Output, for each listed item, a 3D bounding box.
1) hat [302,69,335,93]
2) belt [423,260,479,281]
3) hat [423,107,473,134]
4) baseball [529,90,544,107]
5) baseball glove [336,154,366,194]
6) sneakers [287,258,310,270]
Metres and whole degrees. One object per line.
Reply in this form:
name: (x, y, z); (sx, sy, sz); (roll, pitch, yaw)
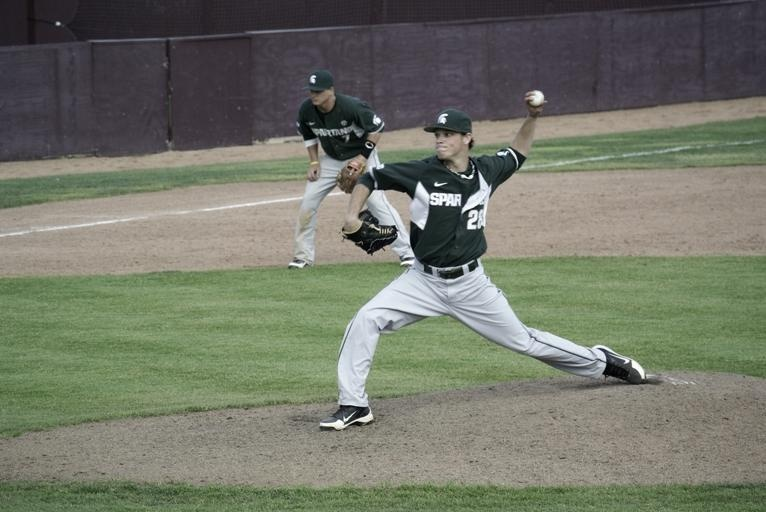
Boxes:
hat: (-0.916, -2.663, 21.038); (0.329, 0.229, 0.468); (17, 20, 39)
belt: (0.853, 0.190, 17.731); (0.728, 0.230, 0.099); (-1, 7, 1)
hat: (0.857, -1.717, 17.783); (0.606, 0.258, 0.411); (5, 2, -9)
baseball: (2.012, -2.058, 18.198); (0.225, 0.194, 0.204); (2, -23, 0)
baseball glove: (-0.464, -1.238, 20.715); (0.355, 0.585, 0.434); (40, -17, -6)
sneakers: (-1.311, 0.121, 21.835); (0.149, 0.120, 0.338); (-4, -7, 29)
